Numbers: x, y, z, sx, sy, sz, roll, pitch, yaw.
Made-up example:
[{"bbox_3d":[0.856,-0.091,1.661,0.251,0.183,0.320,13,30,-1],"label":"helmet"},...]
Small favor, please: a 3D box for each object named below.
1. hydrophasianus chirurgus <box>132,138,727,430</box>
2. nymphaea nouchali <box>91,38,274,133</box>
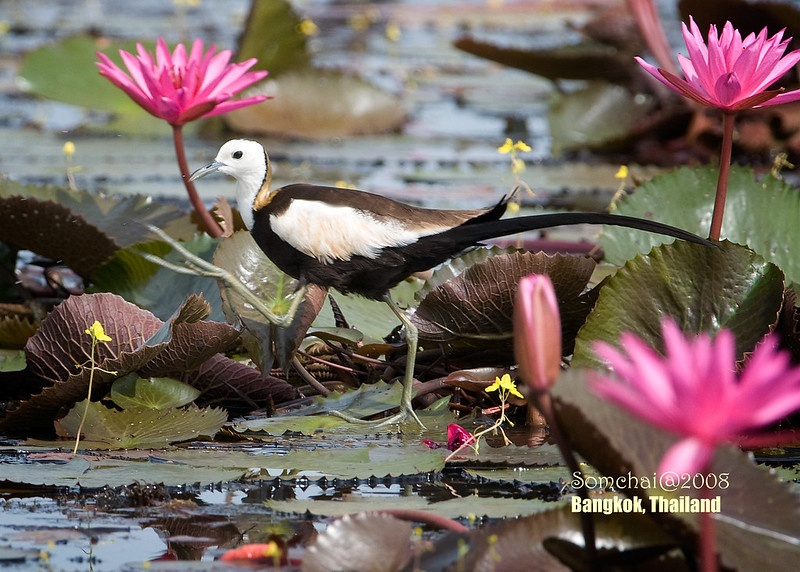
[{"bbox_3d":[0.084,-0.064,2.117,1.095,0.386,0.227,-2,8,14],"label":"hydrophasianus chirurgus"},{"bbox_3d":[-0.517,-0.489,2.392,0.372,0.113,0.283,4,20,-4],"label":"nymphaea nouchali"}]
